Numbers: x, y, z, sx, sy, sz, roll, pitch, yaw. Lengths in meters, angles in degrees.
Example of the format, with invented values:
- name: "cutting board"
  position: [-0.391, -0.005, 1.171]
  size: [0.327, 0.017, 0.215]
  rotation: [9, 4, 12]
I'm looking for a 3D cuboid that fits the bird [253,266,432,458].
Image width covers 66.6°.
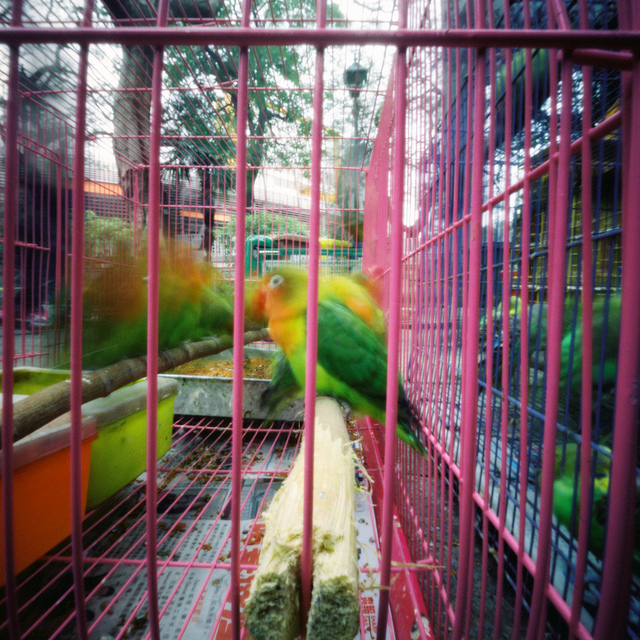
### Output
- name: "bird"
  position: [0.064, 0.065, 1.527]
  size: [0.509, 0.728, 0.271]
  rotation: [-19, 25, -22]

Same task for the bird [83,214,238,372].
- name: "bird"
  position: [-0.516, -0.081, 1.571]
  size: [0.260, 0.511, 0.623]
  rotation: [1, 7, 1]

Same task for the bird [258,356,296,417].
- name: "bird"
  position: [-0.162, 0.269, 1.883]
  size: [0.068, 0.261, 0.061]
  rotation: [9, -21, -3]
